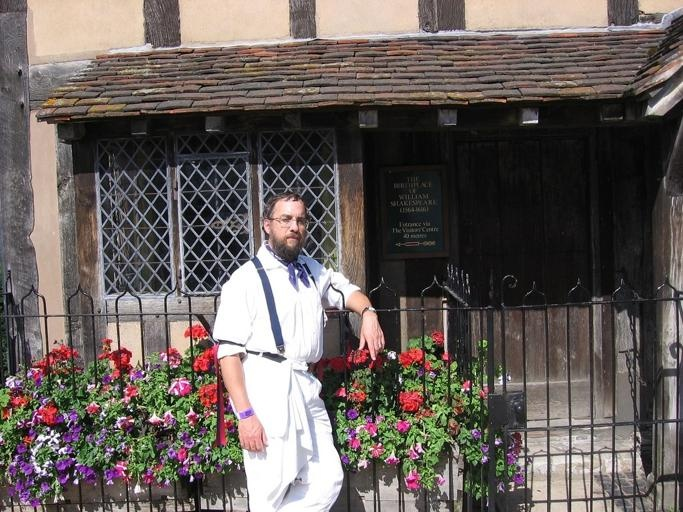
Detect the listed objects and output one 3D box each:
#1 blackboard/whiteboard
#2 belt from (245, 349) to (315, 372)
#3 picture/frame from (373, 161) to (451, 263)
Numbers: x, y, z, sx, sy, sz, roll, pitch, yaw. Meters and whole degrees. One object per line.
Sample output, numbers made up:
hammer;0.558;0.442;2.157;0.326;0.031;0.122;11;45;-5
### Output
blackboard/whiteboard;0.764;-0.494;15.536;0.856;1.368;0.088;0;1;0
belt;-0.566;0.942;13.238;0.430;0.112;0.279;14;-4;-6
picture/frame;0.732;-0.485;15.540;0.919;1.411;0.089;-1;1;0
